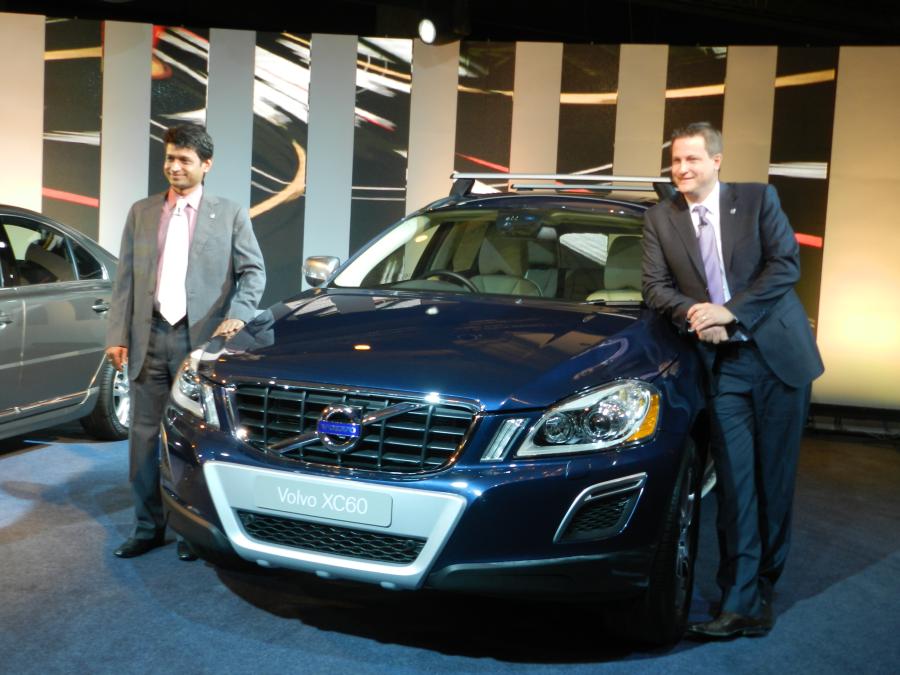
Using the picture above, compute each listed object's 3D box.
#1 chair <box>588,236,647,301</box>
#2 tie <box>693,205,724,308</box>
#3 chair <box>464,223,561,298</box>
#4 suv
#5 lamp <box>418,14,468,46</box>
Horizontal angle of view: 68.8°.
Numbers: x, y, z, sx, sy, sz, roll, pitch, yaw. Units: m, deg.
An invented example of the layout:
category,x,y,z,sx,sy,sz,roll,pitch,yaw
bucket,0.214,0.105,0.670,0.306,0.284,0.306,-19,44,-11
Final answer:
category,x,y,z,sx,sy,sz,roll,pitch,yaw
chair,0.796,-0.332,3.082,0.270,0.323,0.358,4,5,22
tie,1.035,-0.317,2.656,0.082,0.458,0.056,-12,-6,13
chair,0.282,-0.411,3.498,0.278,0.353,0.325,0,20,-5
suv,0.174,0.117,2.998,1.970,1.909,2.282,4,4,21
lamp,-0.085,-2.996,6.482,0.443,0.221,0.373,2,4,-5
